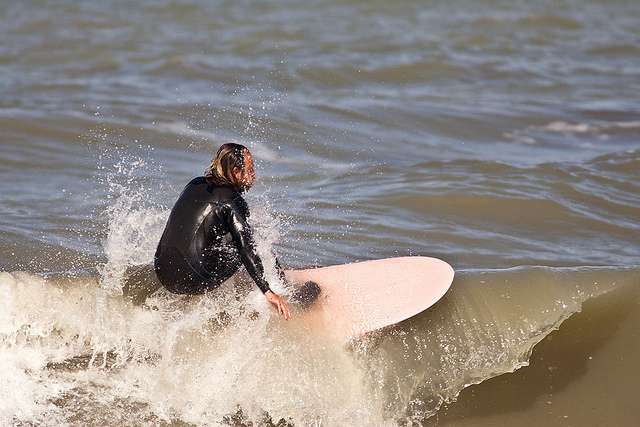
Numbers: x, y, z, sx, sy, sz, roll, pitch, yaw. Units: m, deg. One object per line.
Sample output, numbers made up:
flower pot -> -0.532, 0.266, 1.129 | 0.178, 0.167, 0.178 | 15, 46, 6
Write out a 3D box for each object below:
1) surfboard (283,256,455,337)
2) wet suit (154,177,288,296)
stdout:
surfboard -> 0.682, 1.011, 12.828 | 1.647, 0.871, 0.912 | 11, 30, -4
wet suit -> -1.650, 0.319, 12.501 | 1.303, 1.362, 2.110 | 2, -2, -26
